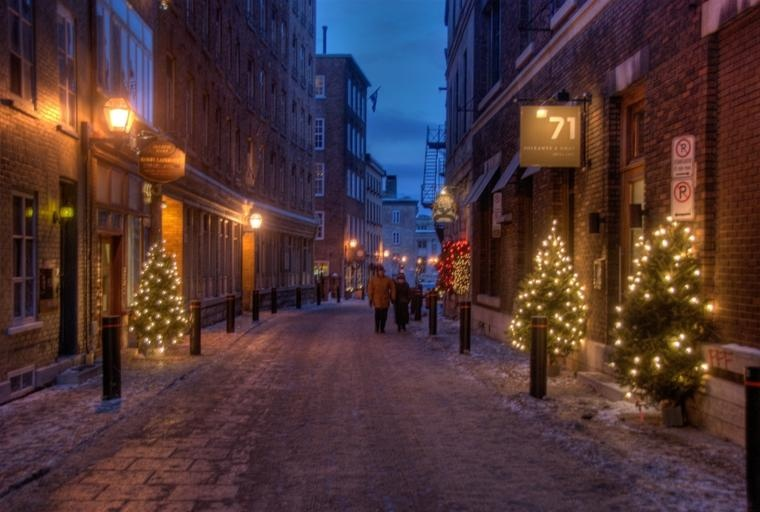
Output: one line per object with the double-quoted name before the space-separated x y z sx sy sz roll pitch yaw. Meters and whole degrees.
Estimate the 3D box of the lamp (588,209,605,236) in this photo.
"lamp" 4.212 -0.643 13.768 0.259 0.437 0.237 1 3 15

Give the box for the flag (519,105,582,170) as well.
"flag" 3.400 -2.376 14.044 1.012 1.235 0.118 1 -3 -10

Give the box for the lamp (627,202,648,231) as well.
"lamp" 4.400 -0.684 12.062 0.266 0.393 0.241 0 3 9

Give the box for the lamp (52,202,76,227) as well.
"lamp" -6.202 -0.822 13.841 0.318 0.435 0.301 1 -1 7
